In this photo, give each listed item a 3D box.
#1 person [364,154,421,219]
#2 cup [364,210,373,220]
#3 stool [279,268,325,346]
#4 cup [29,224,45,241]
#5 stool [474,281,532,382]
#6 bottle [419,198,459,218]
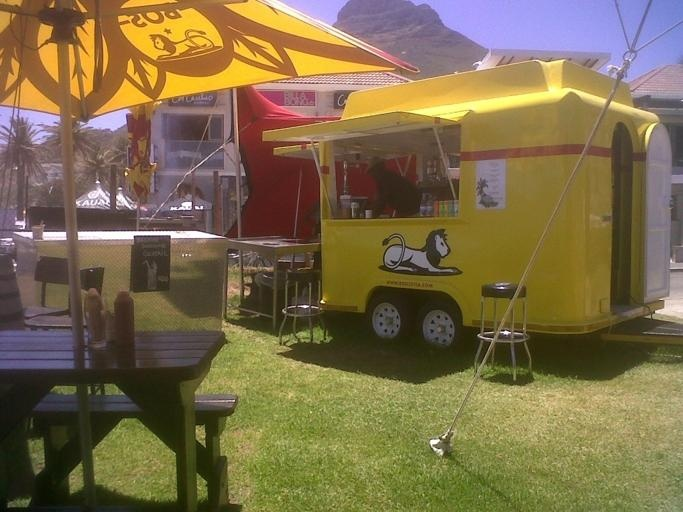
[{"bbox_3d":[0.896,-1.045,10.604,1.013,1.171,0.675,0,-2,4],"label":"person"},{"bbox_3d":[0.431,-0.622,9.474,0.120,0.156,0.126,-1,8,0],"label":"cup"},{"bbox_3d":[-0.645,0.783,9.520,0.732,1.086,0.766,-1,-4,41],"label":"stool"},{"bbox_3d":[-3.442,-0.322,7.181,0.145,0.253,0.250,-2,12,-18],"label":"cup"},{"bbox_3d":[2.005,0.918,7.677,0.529,1.046,0.589,10,-13,-19],"label":"stool"},{"bbox_3d":[1.357,-0.655,8.691,0.244,0.242,0.738,-3,8,-24],"label":"bottle"}]
